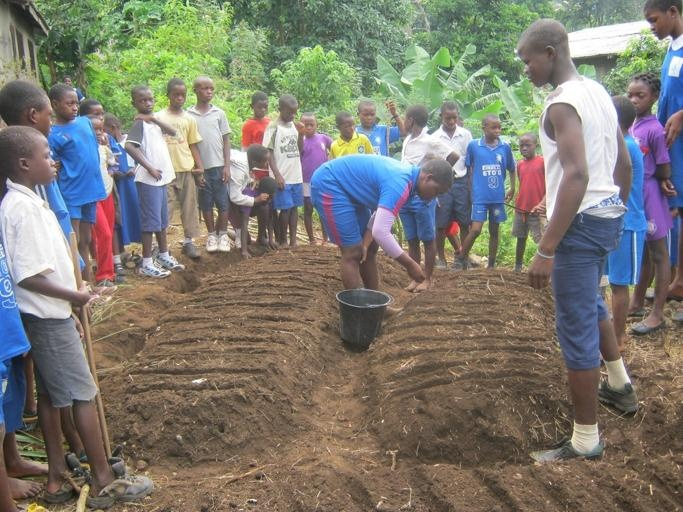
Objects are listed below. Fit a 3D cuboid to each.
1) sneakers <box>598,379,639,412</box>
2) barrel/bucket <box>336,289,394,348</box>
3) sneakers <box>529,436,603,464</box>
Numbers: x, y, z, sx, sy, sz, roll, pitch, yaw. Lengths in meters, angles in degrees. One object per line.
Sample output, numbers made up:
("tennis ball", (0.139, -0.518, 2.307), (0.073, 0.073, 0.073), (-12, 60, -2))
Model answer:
("sneakers", (2.133, 1.082, 6.056), (0.146, 0.168, 0.342), (-13, 22, -14))
("barrel/bucket", (0.212, 0.634, 7.483), (0.562, 0.471, 0.521), (7, 17, -2))
("sneakers", (1.643, 1.418, 5.824), (0.537, 0.158, 0.188), (-4, -3, 16))
